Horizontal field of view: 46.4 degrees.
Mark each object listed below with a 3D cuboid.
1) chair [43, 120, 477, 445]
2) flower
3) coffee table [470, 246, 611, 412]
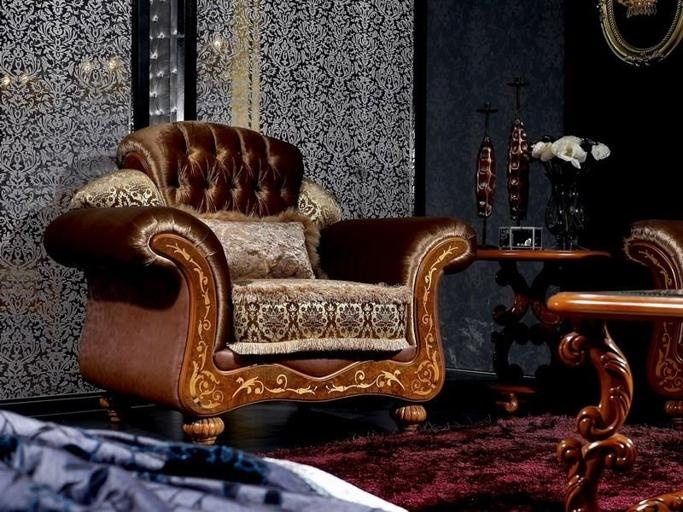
[{"bbox_3d":[-0.354,0.196,3.011,1.505,1.365,1.163,3,-4,-34],"label":"chair"},{"bbox_3d":[0.977,-0.387,3.433,0.283,0.259,0.208,0,1,-9],"label":"flower"},{"bbox_3d":[0.804,0.334,3.600,0.621,0.761,0.661,0,-4,8],"label":"coffee table"}]
